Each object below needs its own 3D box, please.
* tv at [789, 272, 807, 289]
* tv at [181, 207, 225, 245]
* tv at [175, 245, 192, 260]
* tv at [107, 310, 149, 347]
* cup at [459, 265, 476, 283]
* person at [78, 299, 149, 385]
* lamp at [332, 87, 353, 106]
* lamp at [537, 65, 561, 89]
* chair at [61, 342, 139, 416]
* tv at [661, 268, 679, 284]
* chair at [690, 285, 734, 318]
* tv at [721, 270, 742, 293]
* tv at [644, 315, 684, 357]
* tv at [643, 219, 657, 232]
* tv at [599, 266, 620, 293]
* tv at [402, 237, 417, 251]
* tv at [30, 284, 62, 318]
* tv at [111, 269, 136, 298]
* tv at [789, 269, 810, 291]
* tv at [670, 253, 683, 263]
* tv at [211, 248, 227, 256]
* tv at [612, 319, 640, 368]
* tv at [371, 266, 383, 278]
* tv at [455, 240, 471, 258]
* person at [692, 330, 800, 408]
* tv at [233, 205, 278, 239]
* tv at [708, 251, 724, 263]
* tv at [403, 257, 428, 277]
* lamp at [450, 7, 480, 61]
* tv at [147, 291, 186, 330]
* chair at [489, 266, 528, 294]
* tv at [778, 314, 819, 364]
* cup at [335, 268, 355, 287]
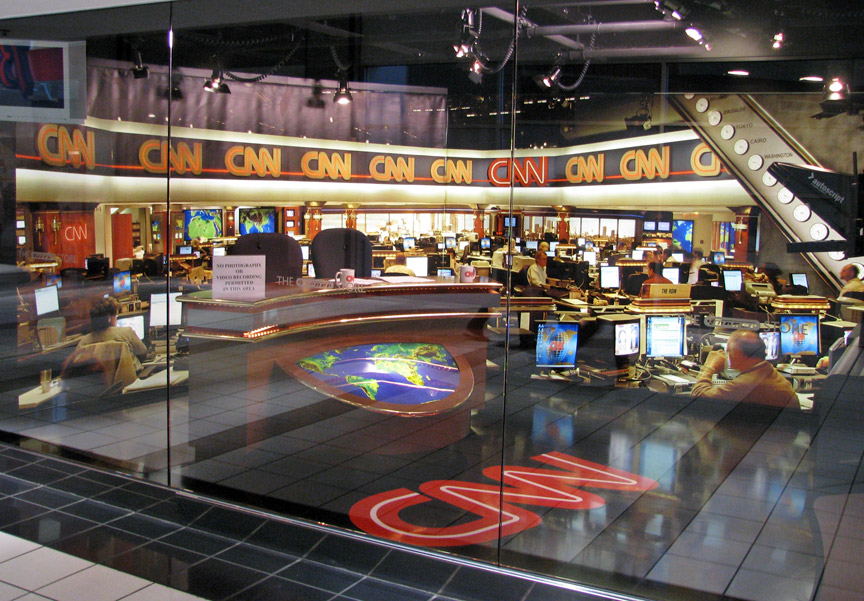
[{"bbox_3d":[2.826,-0.159,4.986,0.156,0.191,0.020,0,42,28],"label":"tv"},{"bbox_3d":[-2.274,-0.715,6.360,0.060,0.292,0.428,-13,-4,35],"label":"tv"},{"bbox_3d":[-2.275,-0.437,5.923,0.126,0.114,0.255,0,8,15],"label":"tv"},{"bbox_3d":[-2.869,0.279,6.032,0.439,0.226,0.358,1,6,-28],"label":"tv"},{"bbox_3d":[0.270,-0.200,4.900,0.128,0.119,0.124,1,13,0],"label":"cup"},{"bbox_3d":[-3.136,0.374,6.279,0.611,0.908,0.559,-1,34,-13],"label":"person"},{"bbox_3d":[-0.790,-1.786,5.687,0.157,0.158,0.155,-1,11,-3],"label":"lamp"},{"bbox_3d":[0.805,-1.530,4.448,0.158,0.142,0.059,-1,7,8],"label":"lamp"},{"bbox_3d":[-3.053,0.685,5.906,0.661,0.575,0.456,-6,8,-26],"label":"chair"},{"bbox_3d":[2.433,-0.240,6.613,0.159,0.153,0.082,-3,-14,-17],"label":"tv"},{"bbox_3d":[2.716,-0.020,6.318,0.355,0.398,1.285,1,8,22],"label":"chair"},{"bbox_3d":[2.535,-0.167,5.458,0.099,0.174,0.189,2,-2,-24],"label":"tv"},{"bbox_3d":[2.287,0.335,6.351,0.469,0.404,0.046,0,27,0],"label":"tv"},{"bbox_3d":[1.613,-0.542,4.777,0.105,0.079,0.091,-9,10,-41],"label":"tv"},{"bbox_3d":[2.071,-0.254,7.552,0.233,0.355,0.575,0,8,15],"label":"tv"},{"bbox_3d":[-0.163,-0.420,4.779,0.071,0.098,0.162,-8,10,-37],"label":"tv"},{"bbox_3d":[-3.440,-0.006,5.739,0.295,0.319,0.025,-6,21,-21],"label":"tv"},{"bbox_3d":[-2.863,-0.163,5.972,0.029,0.259,0.280,1,2,22],"label":"tv"},{"bbox_3d":[2.840,-0.149,5.011,0.185,0.167,0.149,0,6,15],"label":"tv"},{"bbox_3d":[2.504,-0.432,6.622,0.079,0.076,0.144,-3,-3,24],"label":"tv"},{"bbox_3d":[-1.807,-0.407,5.468,0.137,0.079,0.128,1,-1,-16],"label":"tv"},{"bbox_3d":[2.043,0.483,6.769,0.259,0.622,0.511,0,8,16],"label":"tv"},{"bbox_3d":[-0.459,-0.225,5.326,0.040,0.092,0.233,-5,8,-22],"label":"tv"},{"bbox_3d":[0.228,-0.363,4.644,0.100,0.170,0.119,3,9,-4],"label":"tv"},{"bbox_3d":[3.414,0.763,7.028,1.313,0.744,0.786,2,0,-33],"label":"person"},{"bbox_3d":[-1.637,-0.736,6.057,0.423,0.273,0.022,-3,-13,15],"label":"tv"},{"bbox_3d":[2.223,-0.332,5.024,0.146,0.129,0.078,-1,2,-24],"label":"tv"},{"bbox_3d":[-0.122,-0.264,5.041,0.215,0.024,0.232,3,-35,8],"label":"tv"},{"bbox_3d":[0.235,-1.789,4.381,0.222,0.295,0.113,0,8,20],"label":"lamp"},{"bbox_3d":[-2.451,0.095,5.945,0.418,0.393,0.019,0,-3,-7],"label":"tv"},{"bbox_3d":[0.612,-0.154,4.992,0.200,0.235,0.366,-2,4,-35],"label":"chair"},{"bbox_3d":[3.033,0.292,5.339,0.293,0.422,0.489,2,9,30],"label":"tv"},{"bbox_3d":[-0.745,-0.180,5.333,0.204,0.184,0.124,0,2,-17],"label":"cup"}]
